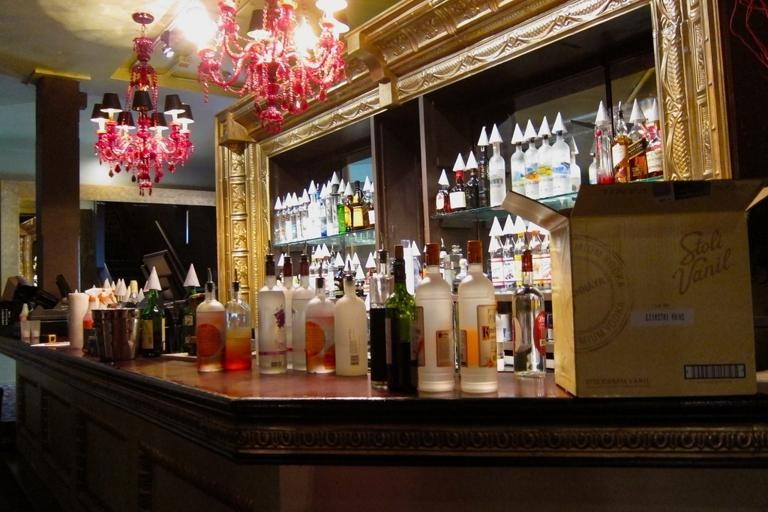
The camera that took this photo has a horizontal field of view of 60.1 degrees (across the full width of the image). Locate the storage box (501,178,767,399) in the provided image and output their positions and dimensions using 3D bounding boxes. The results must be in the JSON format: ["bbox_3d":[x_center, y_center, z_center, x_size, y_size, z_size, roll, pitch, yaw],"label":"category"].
[{"bbox_3d":[0.892,0.118,2.441,0.753,0.506,0.676,0,-6,-4],"label":"storage box"}]

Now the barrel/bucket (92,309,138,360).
[{"bbox_3d":[-1.361,0.396,3.324,0.246,0.243,0.235,-3,-12,-1],"label":"barrel/bucket"}]
